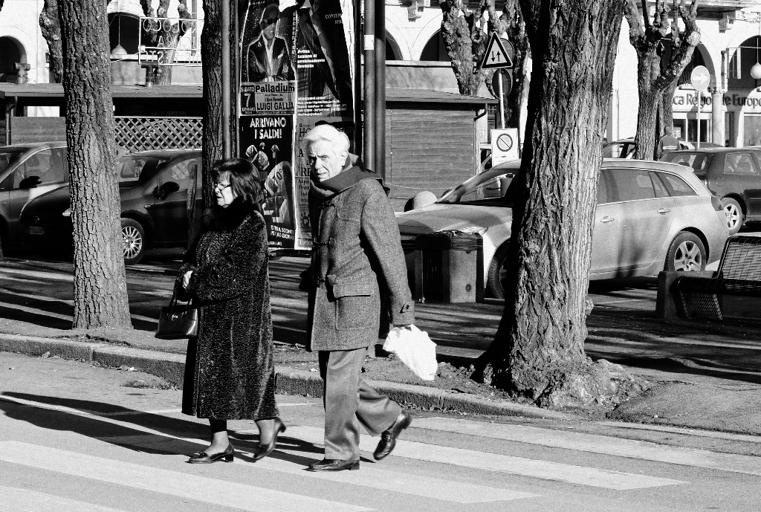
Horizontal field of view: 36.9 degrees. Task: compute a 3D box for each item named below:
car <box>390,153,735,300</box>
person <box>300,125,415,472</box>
[{"bbox_3d":[2.845,-0.517,17.831,5.209,1.900,2.241,0,0,-29],"label":"car"},{"bbox_3d":[-0.139,0.316,9.752,1.090,2.677,0.969,0,1,6],"label":"person"}]
